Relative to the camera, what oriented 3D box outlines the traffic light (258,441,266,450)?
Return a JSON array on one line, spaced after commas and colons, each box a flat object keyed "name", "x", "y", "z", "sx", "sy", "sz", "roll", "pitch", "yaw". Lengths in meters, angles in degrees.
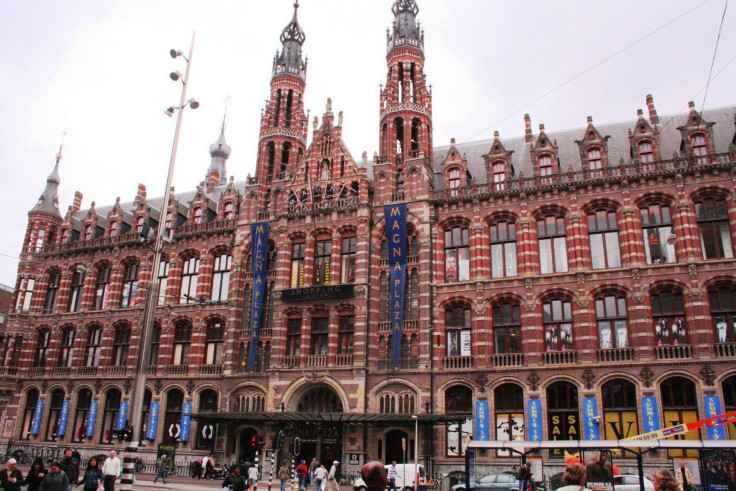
[{"name": "traffic light", "x": -7.995, "y": 15.085, "z": 48.244, "sx": 0.575, "sy": 0.343, "sz": 0.766, "roll": 0, "pitch": -12, "yaw": -3}]
